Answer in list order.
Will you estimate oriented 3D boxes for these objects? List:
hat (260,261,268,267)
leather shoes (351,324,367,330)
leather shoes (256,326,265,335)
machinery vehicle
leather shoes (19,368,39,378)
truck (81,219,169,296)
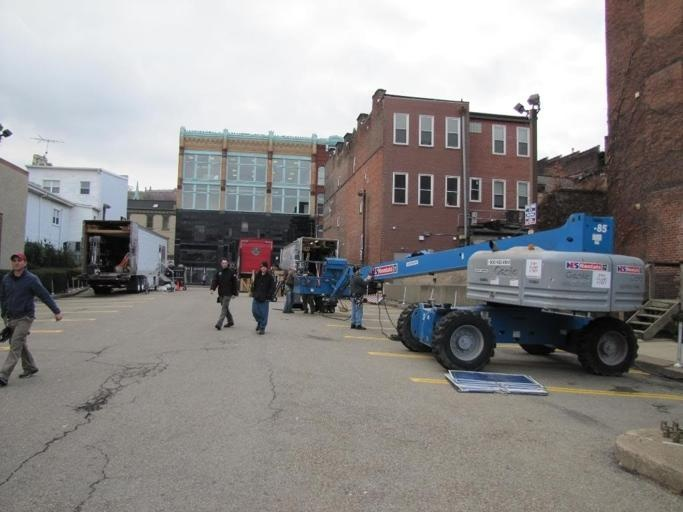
[{"bbox_3d":[-2.147,0.229,14.295,0.141,0.169,0.167,4,-5,24],"label":"hat"},{"bbox_3d":[0.545,2.262,16.514,0.512,0.252,0.176,3,-1,-20],"label":"leather shoes"},{"bbox_3d":[-2.223,2.052,14.085,0.103,0.237,0.327,4,-16,-17],"label":"leather shoes"},{"bbox_3d":[3.937,0.883,10.960,5.757,3.192,3.204,0,-2,0],"label":"machinery vehicle"},{"bbox_3d":[-5.230,1.953,8.589,0.111,0.138,0.275,-1,-4,43],"label":"leather shoes"},{"bbox_3d":[-12.488,0.155,29.836,2.259,3.079,6.245,0,-1,-1],"label":"truck"}]
